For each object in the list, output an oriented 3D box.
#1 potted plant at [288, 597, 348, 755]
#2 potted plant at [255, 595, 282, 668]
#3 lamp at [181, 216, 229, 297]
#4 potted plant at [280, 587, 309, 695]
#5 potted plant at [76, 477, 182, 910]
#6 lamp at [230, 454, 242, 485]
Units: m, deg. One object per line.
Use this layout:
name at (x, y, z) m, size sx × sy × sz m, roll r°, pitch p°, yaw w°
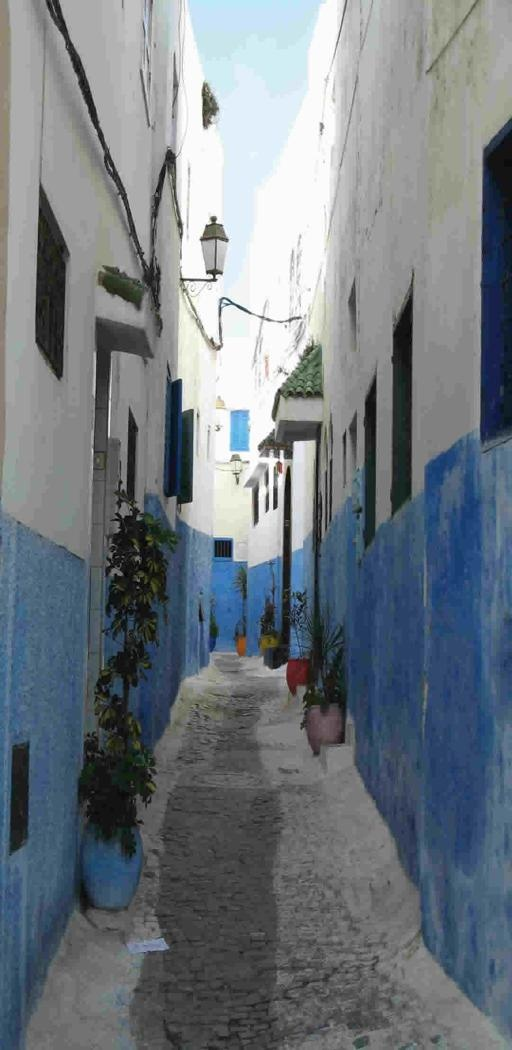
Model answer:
potted plant at (0.630, 1.411, 7.809) m, size 0.305 × 1.568 × 0.390 m, roll -1°, pitch 11°, yaw 17°
potted plant at (0.300, 2.040, 15.158) m, size 0.158 × 1.456 × 0.332 m, roll -4°, pitch -5°, yaw 20°
lamp at (-0.502, -2.778, 8.132) m, size 0.214 × 0.808 × 0.164 m, roll 0°, pitch -16°, yaw 15°
potted plant at (0.577, 1.745, 11.602) m, size 0.241 × 1.356 × 0.237 m, roll -9°, pitch -14°, yaw 42°
potted plant at (-0.690, 0.725, 4.361) m, size 0.433 × 2.047 × 1.791 m, roll 1°, pitch -3°, yaw -10°
lamp at (-0.623, -1.715, 24.701) m, size 0.282 × 0.886 × 0.471 m, roll -1°, pitch -3°, yaw 35°
